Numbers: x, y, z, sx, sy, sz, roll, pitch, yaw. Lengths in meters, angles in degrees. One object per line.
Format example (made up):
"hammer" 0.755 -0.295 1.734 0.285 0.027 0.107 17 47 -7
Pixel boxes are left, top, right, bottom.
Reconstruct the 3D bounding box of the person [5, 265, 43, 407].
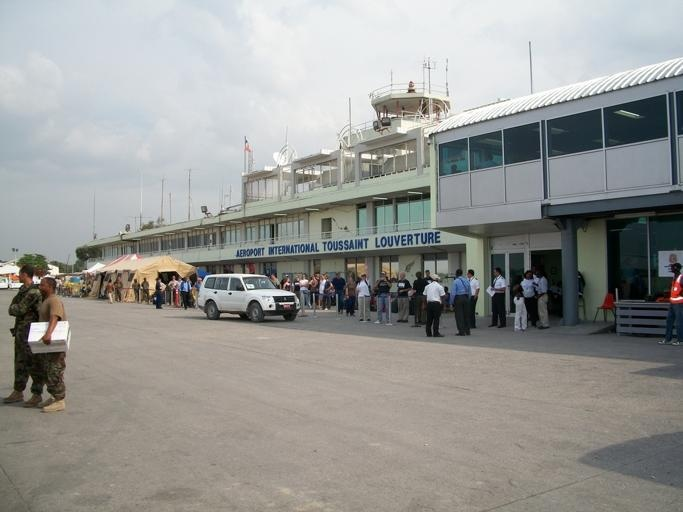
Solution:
"person" -5.179 1.285 9.755 0.544 2.300 1.170 1 -3 -30

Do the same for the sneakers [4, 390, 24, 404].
"sneakers" -5.444 2.378 10.067 0.148 0.228 0.444 -4 -10 28

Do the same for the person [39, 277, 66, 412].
"person" -4.629 1.381 9.593 0.394 2.137 0.889 1 -3 -27

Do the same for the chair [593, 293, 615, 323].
"chair" 9.119 1.765 20.733 0.712 1.016 1.650 -2 -3 24

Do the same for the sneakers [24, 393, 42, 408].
"sneakers" -5.060 2.339 9.738 0.467 0.209 0.224 -3 -4 39

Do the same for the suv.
"suv" -3.949 1.792 25.853 3.608 1.771 2.033 -7 -9 44
